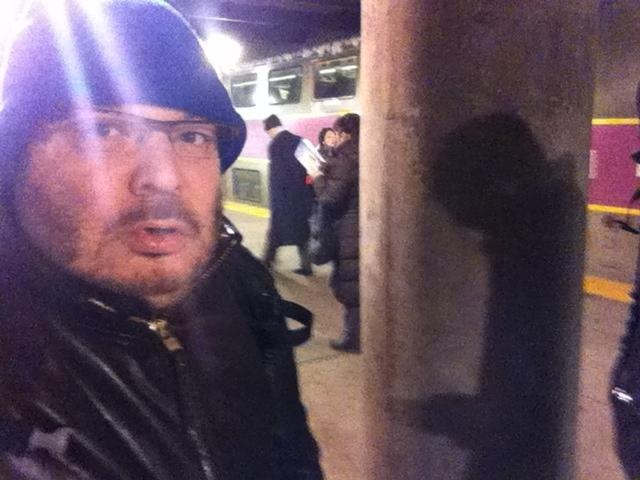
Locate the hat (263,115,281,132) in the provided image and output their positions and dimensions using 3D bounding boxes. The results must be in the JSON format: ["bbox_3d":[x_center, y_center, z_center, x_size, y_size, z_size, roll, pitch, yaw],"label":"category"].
[{"bbox_3d":[-0.184,-0.452,2.372,0.046,0.034,0.081,-9,0,-19],"label":"hat"}]

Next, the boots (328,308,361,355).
[{"bbox_3d":[0.108,0.311,2.366,0.133,0.165,0.243,0,-5,-4],"label":"boots"}]
